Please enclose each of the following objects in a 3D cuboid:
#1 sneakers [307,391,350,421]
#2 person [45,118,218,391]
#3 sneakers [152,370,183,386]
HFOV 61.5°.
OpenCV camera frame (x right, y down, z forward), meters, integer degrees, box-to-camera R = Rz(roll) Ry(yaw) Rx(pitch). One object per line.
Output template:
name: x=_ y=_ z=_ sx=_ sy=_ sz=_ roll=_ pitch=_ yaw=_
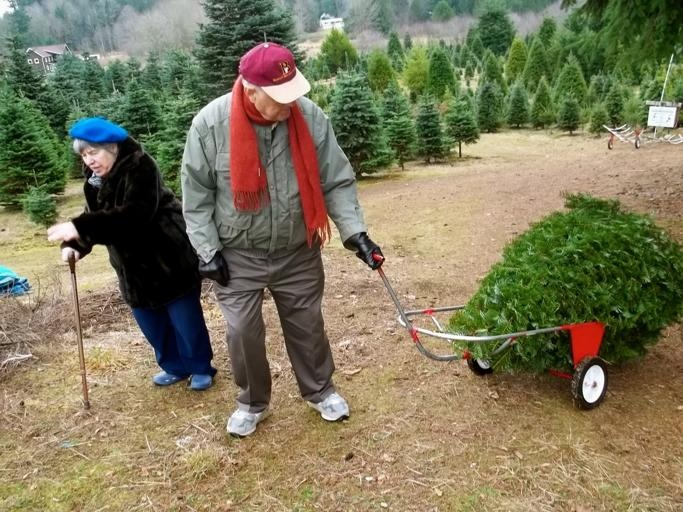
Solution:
sneakers: x=-0.129 y=1.307 z=4.989 sx=0.181 sy=0.161 sz=0.351 roll=-8 pitch=2 yaw=-42
person: x=-1.913 y=0.081 z=5.214 sx=0.896 sy=2.497 sz=1.387 roll=1 pitch=10 yaw=32
sneakers: x=-1.694 y=1.192 z=5.568 sx=0.220 sy=0.096 sz=0.134 roll=7 pitch=3 yaw=-11
